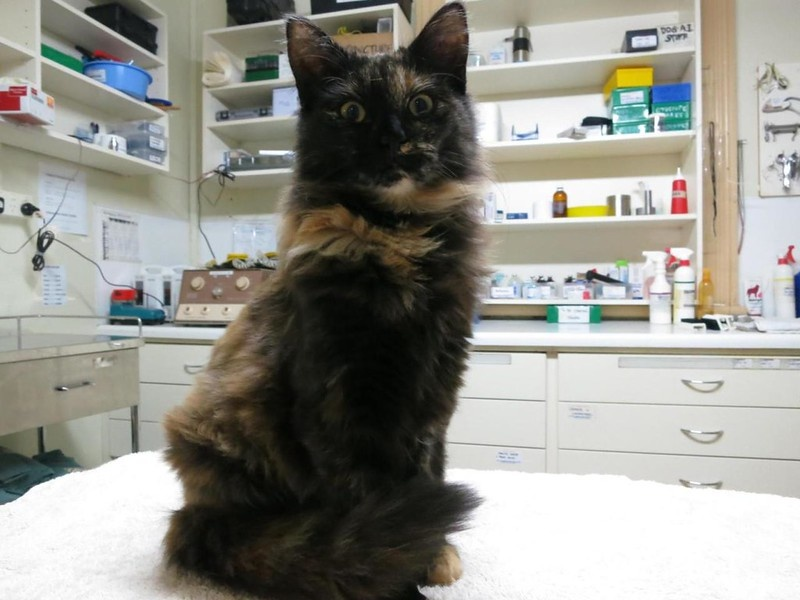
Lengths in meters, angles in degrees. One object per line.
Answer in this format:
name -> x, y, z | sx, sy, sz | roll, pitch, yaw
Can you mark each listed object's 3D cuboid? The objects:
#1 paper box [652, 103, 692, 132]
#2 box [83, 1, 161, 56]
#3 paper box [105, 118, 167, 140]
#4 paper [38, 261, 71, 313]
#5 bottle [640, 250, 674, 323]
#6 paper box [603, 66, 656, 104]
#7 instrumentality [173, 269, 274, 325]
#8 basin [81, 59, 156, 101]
paper box -> 1.396, -0.948, 3.808 | 0.169, 0.124, 0.165 | 1, 2, 10
box -> -1.424, -1.441, 3.885 | 0.239, 0.175, 0.344 | 4, 3, 25
paper box -> -1.366, -0.909, 3.938 | 0.147, 0.063, 0.144 | 2, 4, 41
paper -> -1.727, -0.074, 3.717 | 0.164, 0.220, 0.018 | 0, 2, 7
bottle -> 1.315, -0.058, 3.784 | 0.131, 0.366, 0.119 | 0, 0, 0
paper box -> 1.192, -1.095, 3.888 | 0.223, 0.108, 0.165 | 0, 0, 11
instrumentality -> -0.787, -0.012, 3.319 | 0.264, 0.176, 0.159 | 1, -11, 9
basin -> -1.423, -1.126, 3.753 | 0.226, 0.097, 0.194 | 13, -4, -8
